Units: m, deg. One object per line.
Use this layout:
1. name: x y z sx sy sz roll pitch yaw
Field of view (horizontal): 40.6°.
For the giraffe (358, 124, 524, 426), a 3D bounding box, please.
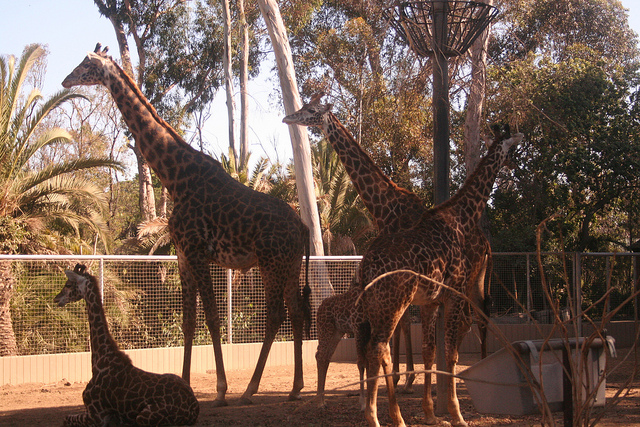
1. giraffe: 2.433 1.395 19.670 2.488 6.582 3.165 -9 -13 40
